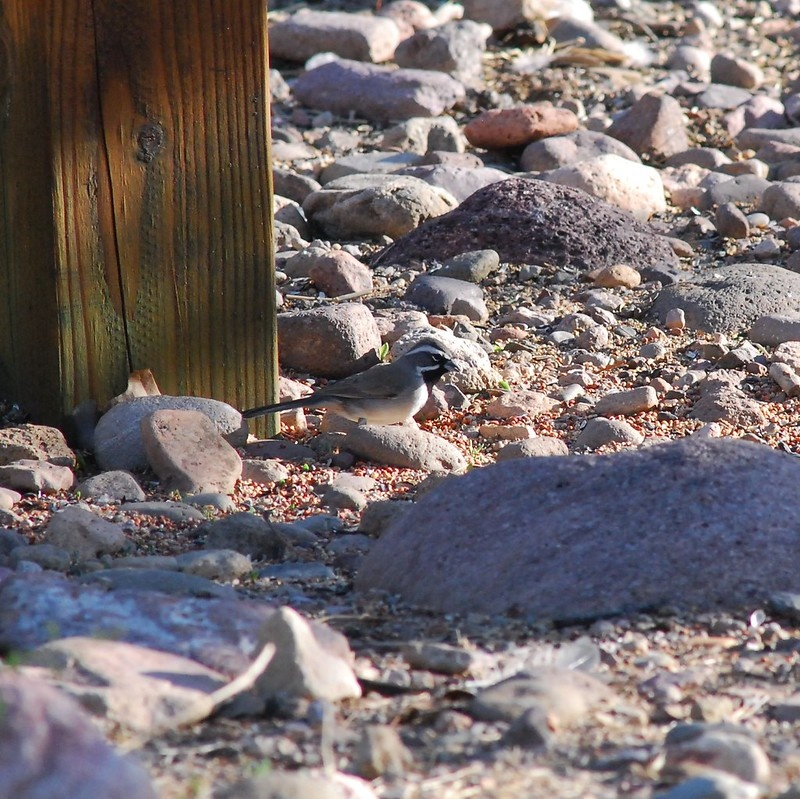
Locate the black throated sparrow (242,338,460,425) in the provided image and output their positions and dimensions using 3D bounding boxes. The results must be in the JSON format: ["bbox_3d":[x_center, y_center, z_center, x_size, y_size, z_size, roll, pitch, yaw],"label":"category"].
[{"bbox_3d":[-0.247,-0.057,5.868,0.967,0.258,0.377,0,57,1],"label":"black throated sparrow"}]
